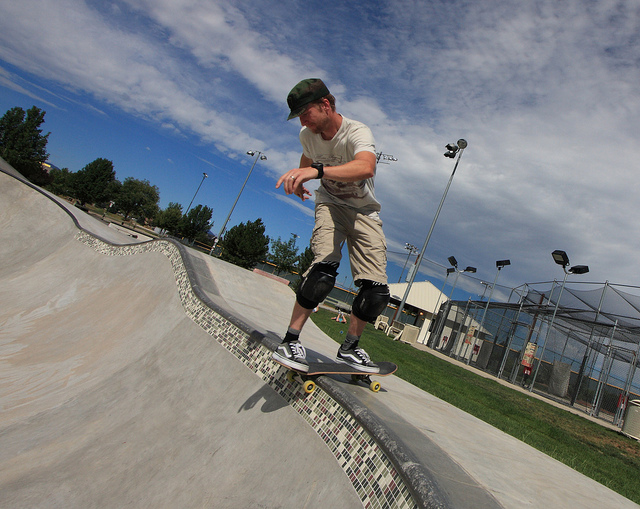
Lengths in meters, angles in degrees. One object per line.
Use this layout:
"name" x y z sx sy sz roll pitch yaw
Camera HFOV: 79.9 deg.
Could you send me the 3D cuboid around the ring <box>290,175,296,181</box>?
"ring" -0.183 -0.528 2.646 0.028 0.007 0.029 37 -15 12
